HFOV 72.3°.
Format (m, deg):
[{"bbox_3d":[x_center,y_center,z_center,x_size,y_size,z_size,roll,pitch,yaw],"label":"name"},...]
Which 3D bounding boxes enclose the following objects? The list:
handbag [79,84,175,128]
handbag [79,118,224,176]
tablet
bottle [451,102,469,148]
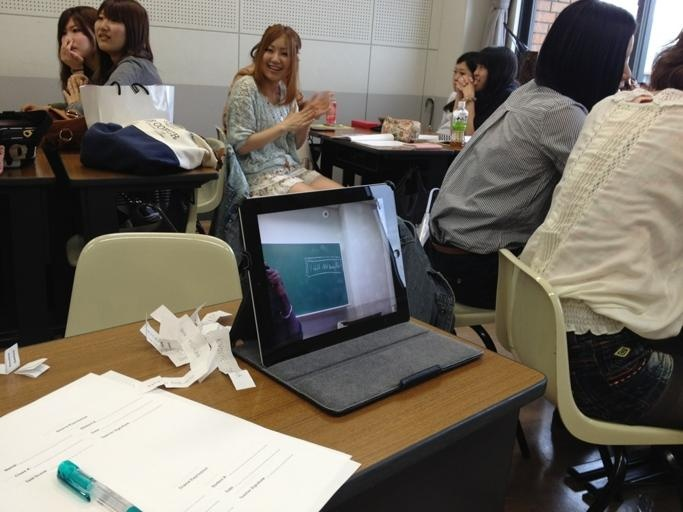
[{"bbox_3d":[-1.071,-0.750,2.322,0.252,0.246,0.099,-15,28,-34],"label":"handbag"},{"bbox_3d":[-0.905,-0.500,2.151,0.386,0.139,0.394,-7,26,-26],"label":"handbag"},{"bbox_3d":[-0.032,0.048,0.882,0.313,0.243,0.007,-11,-1,-41],"label":"tablet"},{"bbox_3d":[0.968,-1.093,3.828,0.156,0.368,0.154,2,11,0],"label":"bottle"}]
